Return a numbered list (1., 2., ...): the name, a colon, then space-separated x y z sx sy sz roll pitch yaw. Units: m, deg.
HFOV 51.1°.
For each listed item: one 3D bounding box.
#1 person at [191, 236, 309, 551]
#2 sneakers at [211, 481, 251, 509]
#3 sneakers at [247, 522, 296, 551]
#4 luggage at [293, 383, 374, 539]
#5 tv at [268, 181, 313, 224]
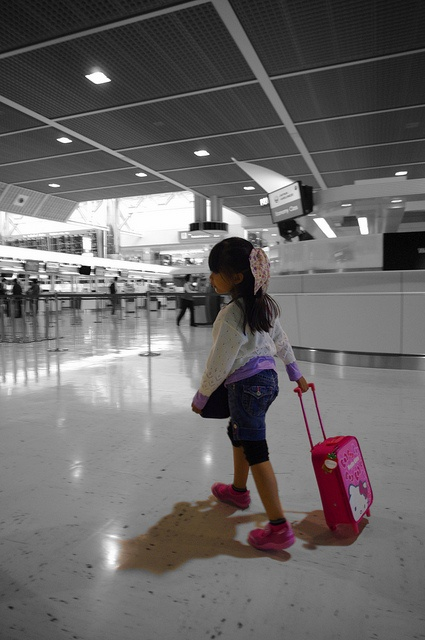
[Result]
1. person: 0.136 0.211 1.498 0.354 0.967 0.359 0 3 12
2. sneakers: 0.070 0.648 1.708 0.152 0.070 0.061 20 25 27
3. sneakers: 0.180 0.649 1.356 0.142 0.095 0.071 2 -22 9
4. luggage: 0.504 0.581 1.875 0.198 0.672 0.324 -16 4 27
5. tv: 1.196 -2.096 8.125 0.311 0.582 1.006 7 27 40
